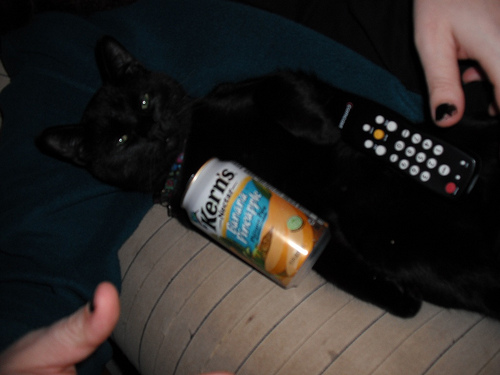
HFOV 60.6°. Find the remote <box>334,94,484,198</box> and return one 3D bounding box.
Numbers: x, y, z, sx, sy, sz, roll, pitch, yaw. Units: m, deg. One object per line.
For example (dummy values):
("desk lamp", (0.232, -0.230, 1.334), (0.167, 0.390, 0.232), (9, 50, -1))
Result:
("remote", (0.359, -0.130, 1.131), (0.471, 0.081, 0.159), (35, 95, 6))
